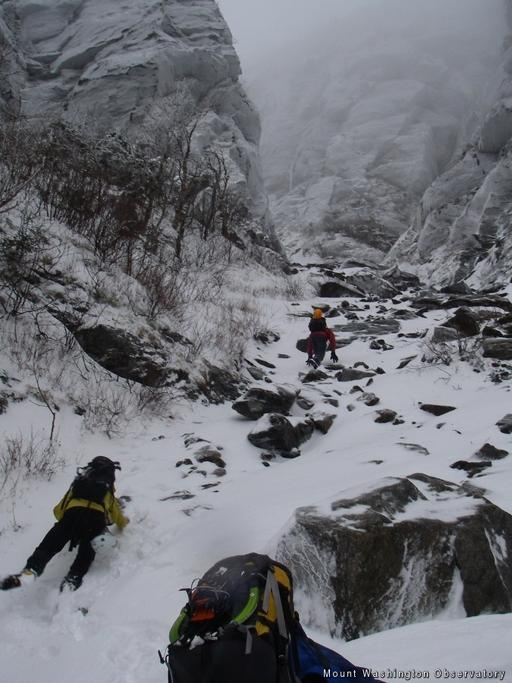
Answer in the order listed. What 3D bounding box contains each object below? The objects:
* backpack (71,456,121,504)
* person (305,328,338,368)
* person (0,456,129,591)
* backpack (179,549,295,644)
[{"bbox_3d":[-1.119,1.043,4.356,0.250,0.312,0.331,-3,-36,9],"label":"backpack"},{"bbox_3d":[1.252,0.142,11.017,0.567,0.690,0.613,4,3,-10],"label":"person"},{"bbox_3d":[-1.255,1.277,4.170,0.551,0.341,0.806,19,24,-1],"label":"person"},{"bbox_3d":[-0.105,1.341,3.268,0.384,0.206,0.471,-15,11,25],"label":"backpack"}]
